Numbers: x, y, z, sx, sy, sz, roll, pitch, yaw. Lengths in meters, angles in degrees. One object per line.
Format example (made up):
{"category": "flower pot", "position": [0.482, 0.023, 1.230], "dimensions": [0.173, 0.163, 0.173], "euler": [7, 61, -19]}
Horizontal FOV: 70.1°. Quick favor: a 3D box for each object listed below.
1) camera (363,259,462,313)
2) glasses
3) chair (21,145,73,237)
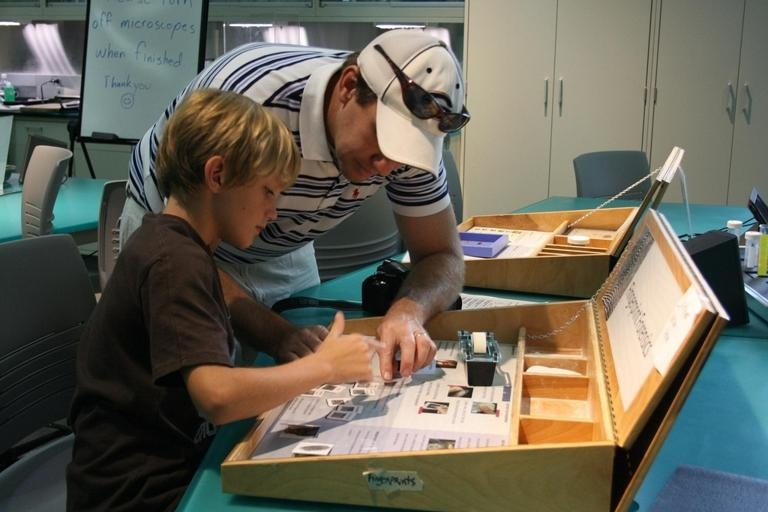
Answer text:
{"category": "camera", "position": [0.069, 0.086, 1.591], "dimensions": [0.132, 0.159, 0.207], "euler": [8, -1, -45]}
{"category": "glasses", "position": [0.069, -0.356, 1.233], "dimensions": [0.193, 0.058, 0.189], "euler": [47, 13, 13]}
{"category": "chair", "position": [-1.633, -0.325, 2.657], "dimensions": [0.261, 0.394, 0.586], "euler": [-11, 17, -28]}
